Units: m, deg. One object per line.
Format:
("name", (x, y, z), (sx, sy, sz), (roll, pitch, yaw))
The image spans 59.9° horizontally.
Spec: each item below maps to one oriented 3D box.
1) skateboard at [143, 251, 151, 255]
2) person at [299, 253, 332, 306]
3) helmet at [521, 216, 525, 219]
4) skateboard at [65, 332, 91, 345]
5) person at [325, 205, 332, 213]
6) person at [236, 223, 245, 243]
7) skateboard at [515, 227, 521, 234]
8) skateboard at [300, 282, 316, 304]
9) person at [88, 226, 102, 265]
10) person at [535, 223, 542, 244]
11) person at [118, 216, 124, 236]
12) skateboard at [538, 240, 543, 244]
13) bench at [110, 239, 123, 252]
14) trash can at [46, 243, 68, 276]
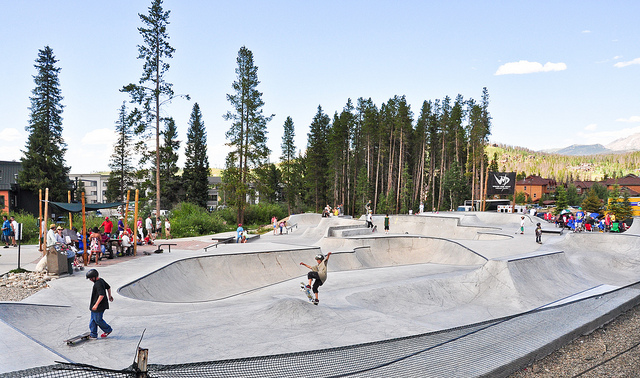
("skateboard", (-12.095, 4.476, 38.960), (0.439, 0.077, 0.625), (-2, 14, -24))
("person", (-0.333, 5.549, 33.776), (0.944, 1.290, 2.590), (26, 23, -4))
("helmet", (17.255, 2.426, 47.600), (0.277, 0.099, 0.276), (-3, -4, -6))
("skateboard", (-12.467, 7.630, 28.635), (0.915, 0.205, 0.466), (-26, 27, -35))
("person", (0.894, 2.320, 64.196), (0.355, 1.101, 0.884), (-5, 6, -39))
("person", (-6.617, 3.616, 45.968), (0.595, 1.432, 2.168), (2, 13, -9))
("skateboard", (17.236, 3.641, 48.759), (0.622, 0.146, 0.141), (-37, -18, -23))
("skateboard", (-0.684, 5.965, 31.952), (0.305, 1.466, 0.453), (-17, -18, -42))
("person", (-14.695, 3.675, 36.238), (0.798, 2.256, 1.073), (-1, 14, -23))
("person", (16.911, 3.293, 42.959), (0.516, 1.545, 1.696), (10, 14, 22))
("person", (-13.917, 2.561, 38.946), (0.354, 0.984, 1.209), (0, 14, -18))
("skateboard", (16.805, 4.067, 42.737), (0.186, 0.300, 0.209), (-5, 7, -17))
("bench", (-14.044, 3.862, 38.471), (0.765, 0.707, 0.748), (1, -2, -11))
("trash can", (-15.841, 4.220, 33.567), (1.118, 1.786, 0.655), (-2, 15, -25))
